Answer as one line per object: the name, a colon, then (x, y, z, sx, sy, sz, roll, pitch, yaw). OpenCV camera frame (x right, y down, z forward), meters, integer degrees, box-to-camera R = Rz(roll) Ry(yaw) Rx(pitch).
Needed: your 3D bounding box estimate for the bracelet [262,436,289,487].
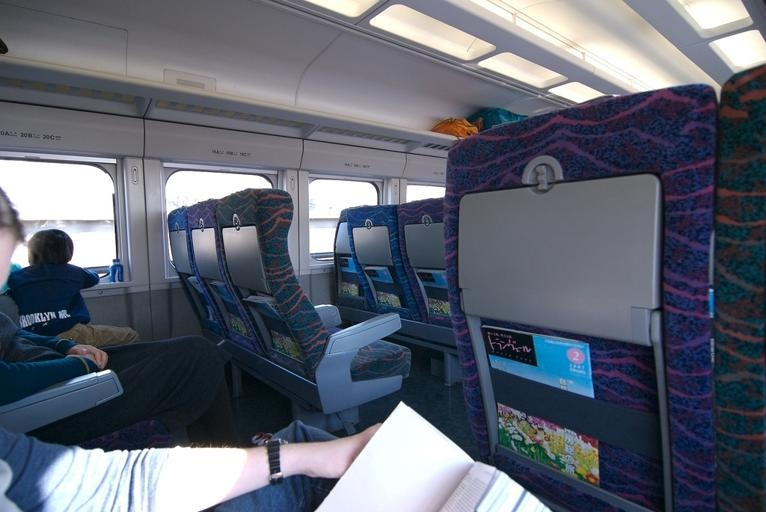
bracelet: (-0.366, 0.710, 1.570, 0.084, 0.133, 0.140, -6, 8, -14)
